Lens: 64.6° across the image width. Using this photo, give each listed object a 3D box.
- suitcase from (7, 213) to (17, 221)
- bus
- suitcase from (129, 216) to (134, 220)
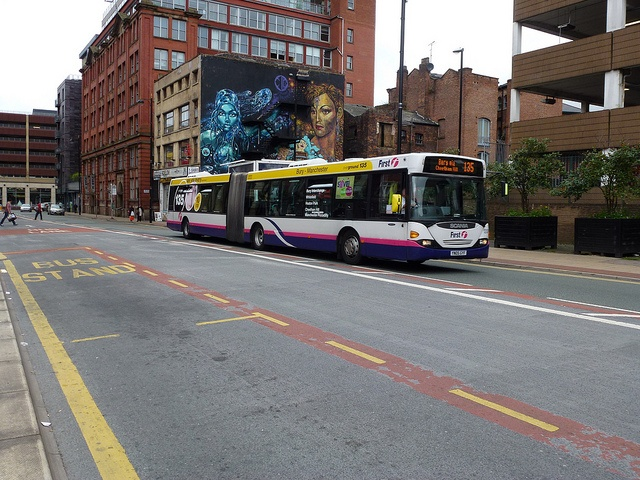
[{"bbox_3d":[-25.377,-1.864,41.561,0.868,0.562,1.435,-9,12,-36],"label":"suitcase"},{"bbox_3d":[-1.171,-1.390,21.036,3.406,3.998,16.270,-2,4,-43],"label":"bus"},{"bbox_3d":[-20.658,-2.412,55.818,0.459,0.356,0.469,0,0,-29],"label":"suitcase"}]
